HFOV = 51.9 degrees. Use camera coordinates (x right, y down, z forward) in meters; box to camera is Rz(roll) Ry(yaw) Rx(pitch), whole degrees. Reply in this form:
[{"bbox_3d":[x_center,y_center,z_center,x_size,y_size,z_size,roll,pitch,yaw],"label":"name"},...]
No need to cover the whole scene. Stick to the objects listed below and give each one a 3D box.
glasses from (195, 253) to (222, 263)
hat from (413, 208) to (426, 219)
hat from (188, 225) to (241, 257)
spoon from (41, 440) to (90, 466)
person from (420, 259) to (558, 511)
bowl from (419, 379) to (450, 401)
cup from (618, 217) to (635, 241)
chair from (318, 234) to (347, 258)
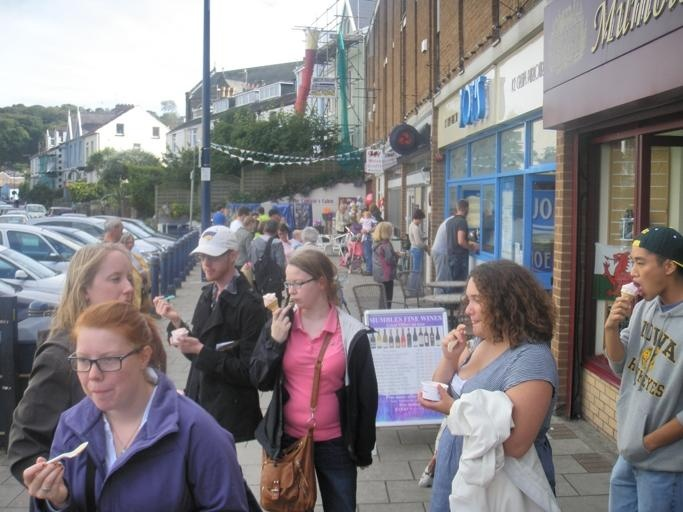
[{"bbox_3d":[-1.130,0.018,5.977,0.192,0.104,0.312,1,-1,7],"label":"glasses"},{"bbox_3d":[1.558,-0.868,14.027,0.180,0.273,0.248,-3,-5,10],"label":"hat"},{"bbox_3d":[-0.943,-0.112,5.352,0.205,0.200,0.314,-1,0,35],"label":"hat"},{"bbox_3d":[-1.319,0.950,3.385,0.312,0.042,0.050,-21,-25,21],"label":"spoon"},{"bbox_3d":[0.926,0.686,4.172,0.704,1.298,0.663,4,6,31],"label":"person"},{"bbox_3d":[0.545,0.772,4.093,0.120,0.074,0.115,7,-6,1],"label":"bowl"},{"bbox_3d":[2.770,-0.260,6.820,0.146,0.315,0.152,0,1,0],"label":"cup"},{"bbox_3d":[-0.314,-0.615,26.339,1.076,1.295,0.843,0,-5,-1],"label":"chair"}]
